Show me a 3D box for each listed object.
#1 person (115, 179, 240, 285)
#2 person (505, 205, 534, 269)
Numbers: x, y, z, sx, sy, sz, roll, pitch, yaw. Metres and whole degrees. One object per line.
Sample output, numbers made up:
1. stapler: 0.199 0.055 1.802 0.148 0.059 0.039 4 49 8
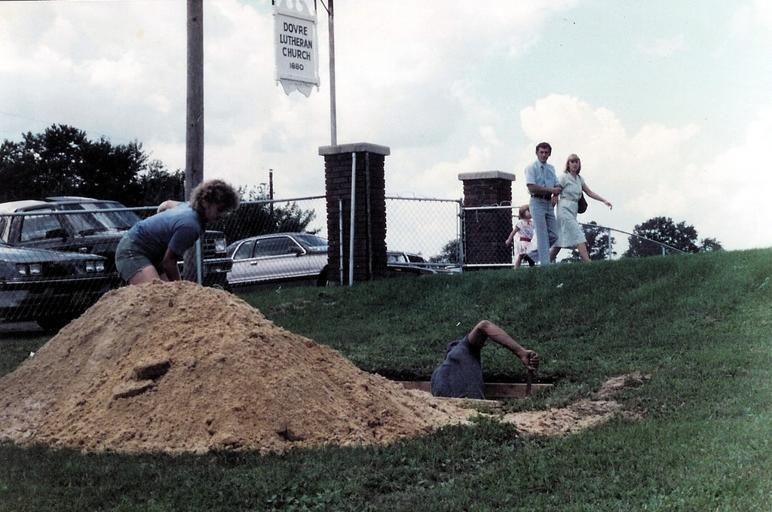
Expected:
1. person: -2.627 -0.292 9.745 1.501 1.356 0.604 4 11 20
2. person: 3.022 -0.361 16.864 0.715 1.642 0.523 -1 21 1
